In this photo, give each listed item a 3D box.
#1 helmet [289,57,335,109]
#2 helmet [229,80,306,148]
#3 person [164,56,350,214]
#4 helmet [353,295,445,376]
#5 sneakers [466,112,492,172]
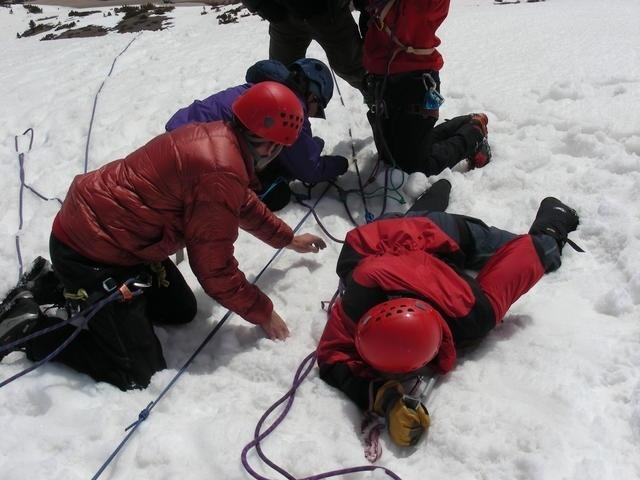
[{"bbox_3d":[-0.073,-1.250,4.454,0.335,0.386,0.279,-27,16,-25],"label":"helmet"},{"bbox_3d":[-0.292,-0.768,3.469,0.342,0.445,0.285,47,119,39],"label":"helmet"},{"bbox_3d":[-0.365,-0.851,4.513,1.483,0.752,1.078,-30,73,-37],"label":"person"},{"bbox_3d":[0.494,0.553,3.260,0.485,0.379,0.374,-11,88,20],"label":"helmet"},{"bbox_3d":[1.406,-0.884,4.883,0.187,0.239,0.555,9,91,37],"label":"sneakers"}]
